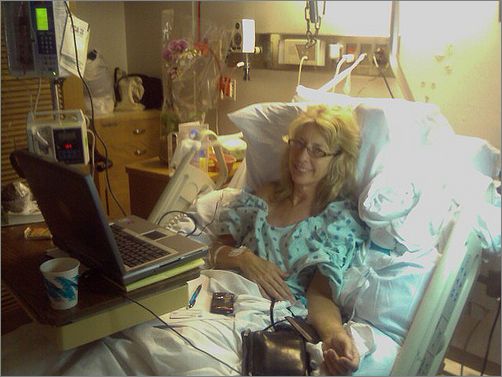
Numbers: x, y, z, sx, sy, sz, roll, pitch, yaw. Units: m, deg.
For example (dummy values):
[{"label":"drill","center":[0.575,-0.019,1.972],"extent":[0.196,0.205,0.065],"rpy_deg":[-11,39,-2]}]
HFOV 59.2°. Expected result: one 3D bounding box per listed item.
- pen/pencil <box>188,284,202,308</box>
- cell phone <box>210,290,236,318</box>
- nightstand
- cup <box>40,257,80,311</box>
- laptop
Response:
[{"label":"pen/pencil","center":[-0.225,0.423,1.756],"extent":[0.019,0.022,0.085],"rpy_deg":[16,26,7]},{"label":"cell phone","center":[-0.108,0.451,1.716],"extent":[0.096,0.045,0.093],"rpy_deg":[2,20,2]},{"label":"nightstand","center":[-0.448,-0.072,2.875],"extent":[0.595,0.387,0.559],"rpy_deg":[-18,29,-36]},{"label":"cup","center":[-0.578,0.288,1.347],"extent":[0.101,0.133,0.119],"rpy_deg":[-14,25,-37]},{"label":"laptop","center":[-0.471,0.094,1.520],"extent":[0.528,0.407,0.471],"rpy_deg":[17,20,42]}]
